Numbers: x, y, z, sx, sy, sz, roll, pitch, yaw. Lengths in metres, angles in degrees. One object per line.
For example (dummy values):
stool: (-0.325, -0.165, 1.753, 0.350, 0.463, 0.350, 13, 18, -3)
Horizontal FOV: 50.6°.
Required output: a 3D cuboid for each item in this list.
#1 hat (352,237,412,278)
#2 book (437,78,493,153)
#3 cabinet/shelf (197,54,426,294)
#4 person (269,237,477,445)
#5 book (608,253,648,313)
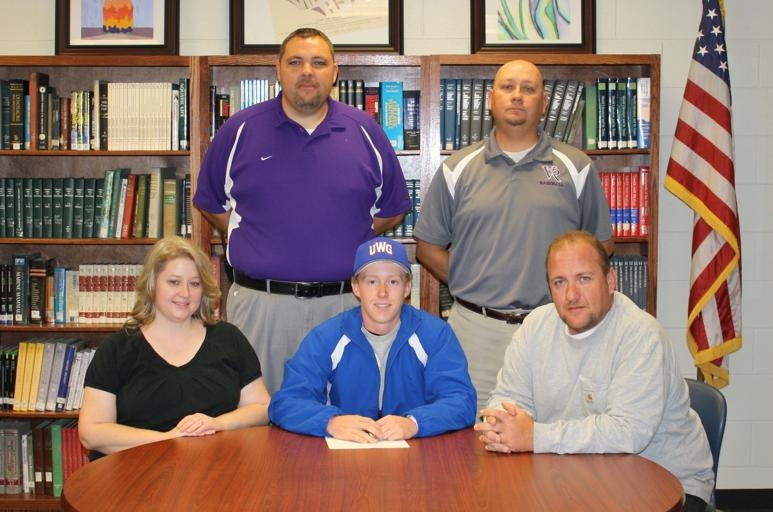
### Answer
hat: (0.004, -0.013, 4.164, 0.281, 0.178, 0.386, 0, 13, 8)
book: (0.515, -0.933, 5.598, 0.395, 0.547, 0.539, 0, -2, 1)
cabinet/shelf: (-0.446, -0.467, 4.692, 1.511, 1.512, 0.787, 0, 3, -8)
person: (-0.069, 0.429, 3.938, 0.990, 0.965, 0.728, -1, 16, -10)
book: (1.432, 0.157, 4.829, 0.170, 0.312, 0.321, -3, 10, -15)
